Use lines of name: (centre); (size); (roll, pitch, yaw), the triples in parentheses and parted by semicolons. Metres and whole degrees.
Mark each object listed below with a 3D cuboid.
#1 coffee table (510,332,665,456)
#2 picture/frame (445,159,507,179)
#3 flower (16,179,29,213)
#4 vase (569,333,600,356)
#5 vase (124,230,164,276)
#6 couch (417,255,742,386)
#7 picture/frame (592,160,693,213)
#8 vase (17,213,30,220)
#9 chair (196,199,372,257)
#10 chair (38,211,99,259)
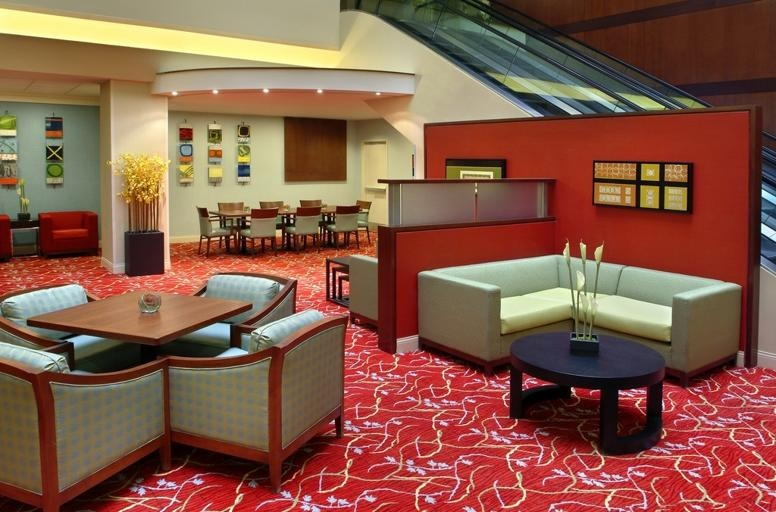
coffee table: (1.794, 1.187, 4.979); (1.166, 0.588, 1.320); (-11, 12, -42)
picture/frame: (1.322, -1.345, 8.288); (0.169, 0.309, 1.099); (-11, 17, -38)
flower: (-8.147, -1.341, 12.056); (0.216, 0.730, 0.354); (-8, 16, -27)
vase: (1.791, 0.811, 4.927); (0.193, 0.104, 0.264); (-1, 4, -9)
vase: (-4.603, -0.042, 10.169); (0.948, 1.032, 0.637); (-1, 7, -24)
couch: (2.196, 0.655, 6.073); (2.001, 0.689, 1.954); (-4, 5, -38)
picture/frame: (3.113, -0.864, 6.639); (0.097, 0.586, 1.215); (-14, 19, -43)
vase: (-7.827, -0.855, 11.625); (0.200, 0.106, 0.186); (-3, 9, -25)
chair: (-2.372, -0.765, 13.014); (3.914, 1.097, 2.370); (-5, 14, -21)
chair: (-6.960, -0.463, 11.985); (1.470, 1.069, 1.026); (-2, 3, -35)
